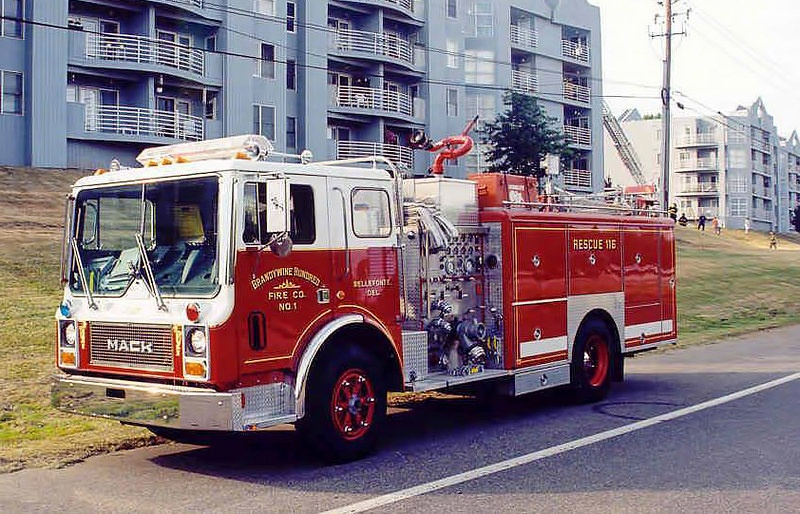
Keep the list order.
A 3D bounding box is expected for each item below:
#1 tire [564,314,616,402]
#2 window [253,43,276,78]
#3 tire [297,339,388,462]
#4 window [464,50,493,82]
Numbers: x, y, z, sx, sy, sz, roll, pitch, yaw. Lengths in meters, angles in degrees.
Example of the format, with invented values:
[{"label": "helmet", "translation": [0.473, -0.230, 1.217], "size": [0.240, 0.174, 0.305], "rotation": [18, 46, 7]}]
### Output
[{"label": "tire", "translation": [3.456, 1.850, 16.109], "size": [0.460, 1.605, 1.430], "rotation": [1, -7, 44]}, {"label": "window", "translation": [-6.586, -9.467, 41.929], "size": [0.165, 2.241, 1.636], "rotation": [8, 9, 41]}, {"label": "tire", "translation": [-0.902, 2.079, 12.771], "size": [0.841, 2.068, 1.799], "rotation": [-1, 1, 39]}, {"label": "window", "translation": [4.772, -11.529, 53.172], "size": [2.130, 2.149, 0.170], "rotation": [3, -11, -28]}]
